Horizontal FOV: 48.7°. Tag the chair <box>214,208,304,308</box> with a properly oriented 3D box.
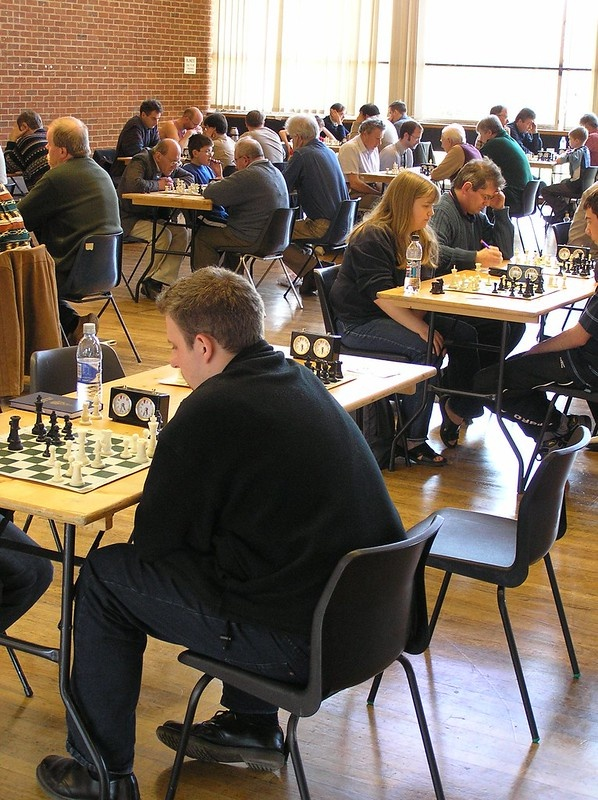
[{"bbox_3d":[-0.296,-1.303,5.903,0.525,0.859,0.558,-10,22,7],"label":"chair"}]

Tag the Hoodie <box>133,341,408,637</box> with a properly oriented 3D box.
[{"bbox_3d":[-0.041,0.131,1.012,0.407,0.412,0.207,5,13,9],"label":"Hoodie"}]

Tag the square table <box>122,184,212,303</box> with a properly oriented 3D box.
[{"bbox_3d":[-1.191,-1.556,6.197,0.942,0.673,0.969,15,19,26],"label":"square table"}]

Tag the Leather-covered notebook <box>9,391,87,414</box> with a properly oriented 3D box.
[{"bbox_3d":[-0.643,0.007,1.715,0.125,0.016,0.091,9,15,21],"label":"Leather-covered notebook"}]

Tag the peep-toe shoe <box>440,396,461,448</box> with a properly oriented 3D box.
[{"bbox_3d":[0.833,0.119,3.698,0.079,0.284,0.108,6,13,41],"label":"peep-toe shoe"}]

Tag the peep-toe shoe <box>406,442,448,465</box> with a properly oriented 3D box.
[{"bbox_3d":[0.648,0.276,3.427,0.235,0.085,0.091,7,18,44],"label":"peep-toe shoe"}]

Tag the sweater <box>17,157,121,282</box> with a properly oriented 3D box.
[{"bbox_3d":[-1.480,-1.236,4.462,0.462,0.757,0.651,14,20,36],"label":"sweater"}]

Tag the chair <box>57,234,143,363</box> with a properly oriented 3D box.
[{"bbox_3d":[-1.424,-0.678,4.364,0.644,0.794,0.585,1,16,9],"label":"chair"}]

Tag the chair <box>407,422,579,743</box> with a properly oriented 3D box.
[{"bbox_3d":[0.486,0.429,1.680,0.485,0.671,0.459,2,10,10],"label":"chair"}]

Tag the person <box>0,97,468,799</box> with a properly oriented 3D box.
[{"bbox_3d":[-0.075,0.112,1.645,0.939,1.301,0.641,14,18,27],"label":"person"}]

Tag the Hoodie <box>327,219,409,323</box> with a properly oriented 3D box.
[{"bbox_3d":[0.321,-0.632,3.627,0.424,0.657,0.611,9,10,5],"label":"Hoodie"}]
